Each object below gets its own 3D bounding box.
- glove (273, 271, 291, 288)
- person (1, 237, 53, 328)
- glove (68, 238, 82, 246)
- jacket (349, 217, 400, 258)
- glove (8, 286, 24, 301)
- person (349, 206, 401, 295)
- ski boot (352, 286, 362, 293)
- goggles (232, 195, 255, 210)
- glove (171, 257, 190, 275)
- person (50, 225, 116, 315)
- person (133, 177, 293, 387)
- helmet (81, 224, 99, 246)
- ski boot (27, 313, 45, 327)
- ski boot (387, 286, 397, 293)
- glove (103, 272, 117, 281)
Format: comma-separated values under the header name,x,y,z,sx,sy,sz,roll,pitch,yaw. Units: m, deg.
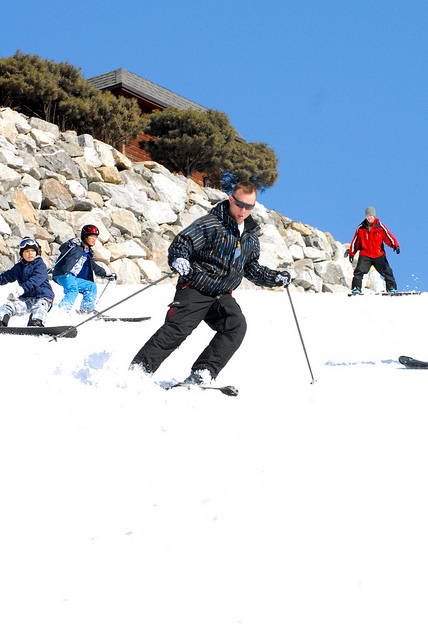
name,x,y,z,sx,sy,sz,roll,pitch,yaw
glove,0.478,-0.286,4.890,0.085,0.049,0.108,10,45,12
person,-1.992,-0.426,7.474,0.553,0.921,0.729,4,4,-13
glove,-1.791,-1.042,9.131,0.116,0.056,0.155,7,4,4
jacket,3.012,-1.603,13.368,0.969,0.782,0.345,-3,10,22
glove,-2.092,-0.303,7.465,0.184,0.108,0.071,-31,14,-26
person,3.017,-1.320,13.322,1.287,1.648,0.822,1,6,-44
ski boot,2.740,-0.618,13.548,0.136,0.170,0.398,1,4,10
goggles,0.201,-0.750,4.445,0.180,0.083,0.095,1,5,-40
glove,-0.198,-0.337,4.250,0.109,0.103,0.110,3,5,-21
person,-1.766,-0.692,9.304,0.669,1.194,0.842,5,4,8
person,0.010,-0.254,4.588,0.523,1.331,1.000,9,6,42
helmet,-1.594,-1.134,9.150,0.272,0.305,0.229,-2,4,30
ski boot,-1.863,-0.021,7.331,0.146,0.115,0.254,4,4,-15
ski boot,3.462,-0.623,13.704,0.083,0.120,0.254,6,10,37
glove,-1.366,-0.609,9.344,0.137,0.064,0.137,7,1,26
